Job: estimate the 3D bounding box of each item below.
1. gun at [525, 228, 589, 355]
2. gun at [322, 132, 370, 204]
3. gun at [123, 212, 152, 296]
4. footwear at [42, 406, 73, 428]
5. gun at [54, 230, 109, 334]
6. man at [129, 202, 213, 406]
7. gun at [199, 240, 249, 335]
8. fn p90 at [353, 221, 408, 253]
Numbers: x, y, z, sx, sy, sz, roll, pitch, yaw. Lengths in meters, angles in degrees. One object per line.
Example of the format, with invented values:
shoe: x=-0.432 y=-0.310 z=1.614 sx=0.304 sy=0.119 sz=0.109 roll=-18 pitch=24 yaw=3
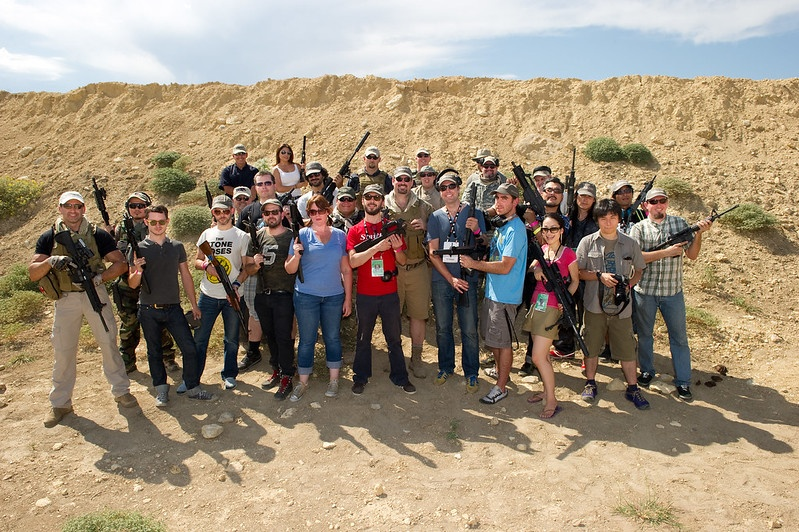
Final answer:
gun: x=2.916 y=0.526 z=10.730 sx=0.823 sy=2.172 sz=1.028 roll=-6 pitch=19 yaw=2
gun: x=-1.373 y=-2.628 z=14.713 sx=0.529 sy=0.256 sz=1.927 roll=-34 pitch=11 yaw=27
gun: x=-4.869 y=-0.264 z=10.870 sx=0.264 sy=1.560 sz=0.580 roll=-17 pitch=-5 yaw=-23
footwear: x=-6.192 y=2.700 z=10.566 sx=0.196 sy=0.254 sz=0.487 roll=3 pitch=21 yaw=27
gun: x=-5.745 y=0.272 z=10.484 sx=0.700 sy=1.904 sz=0.235 roll=-18 pitch=1 yaw=7
man: x=-4.310 y=0.730 z=10.859 sx=1.543 sy=3.635 sz=1.165 roll=-1 pitch=-2 yaw=-36
gun: x=-3.347 y=0.352 z=11.097 sx=0.386 sy=1.877 sz=0.206 roll=-14 pitch=13 yaw=4
fn p90: x=-0.390 y=-0.540 z=10.732 sx=1.042 sy=0.393 sz=0.178 roll=-22 pitch=9 yaw=8
